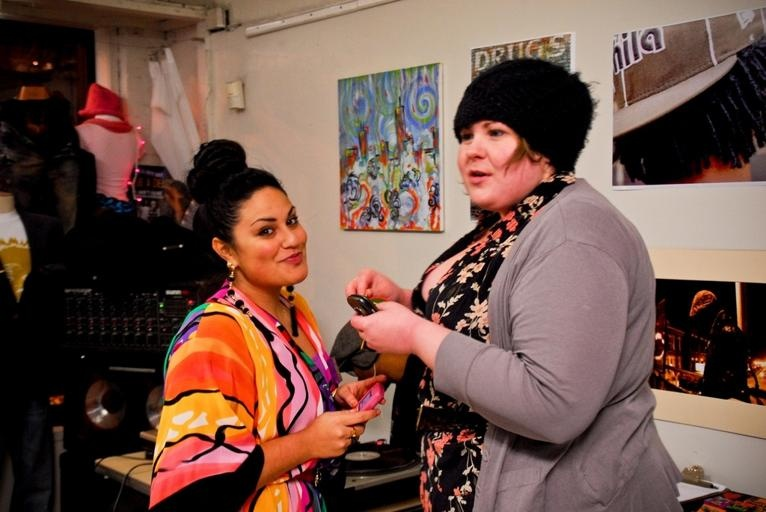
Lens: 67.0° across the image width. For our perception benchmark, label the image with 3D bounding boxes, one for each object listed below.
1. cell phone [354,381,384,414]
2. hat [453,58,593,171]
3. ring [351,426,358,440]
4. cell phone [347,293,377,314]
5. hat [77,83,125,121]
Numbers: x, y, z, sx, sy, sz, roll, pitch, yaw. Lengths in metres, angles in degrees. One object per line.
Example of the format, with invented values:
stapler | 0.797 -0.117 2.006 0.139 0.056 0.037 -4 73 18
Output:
cell phone | -0.050 0.489 2.019 0.093 0.023 0.089 -35 15 24
hat | 0.423 -0.417 1.769 0.370 0.292 0.289 6 1 14
ring | -0.096 0.596 1.929 0.030 0.040 0.012 -2 12 -40
cell phone | -0.059 0.146 1.739 0.050 0.022 0.093 8 -34 51
hat | -1.952 -1.062 4.021 0.225 0.180 0.293 6 10 43
